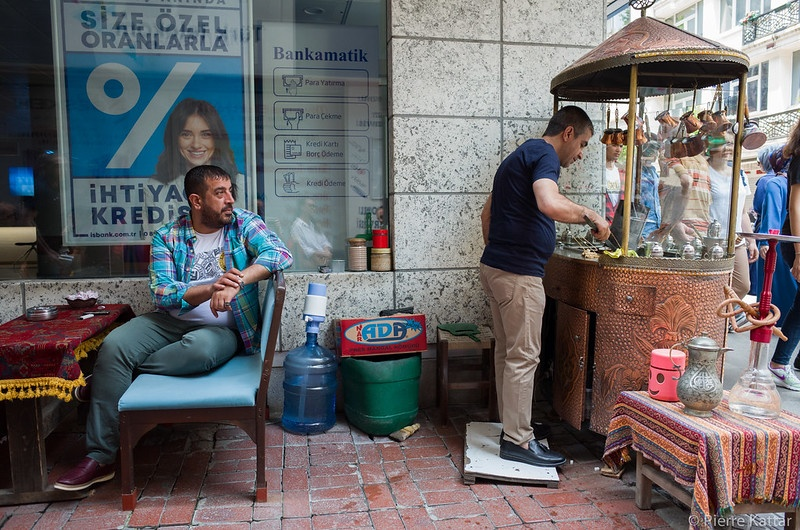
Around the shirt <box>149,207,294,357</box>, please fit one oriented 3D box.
[{"bbox_3d":[-1.422,0.001,4.585,1.239,1.283,0.978,-1,1,-12],"label":"shirt"}]

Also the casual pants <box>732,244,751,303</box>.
[{"bbox_3d":[3.256,0.028,5.529,0.131,0.469,0.121,-2,-6,-1],"label":"casual pants"}]

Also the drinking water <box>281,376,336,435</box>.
[{"bbox_3d":[-0.700,1.142,4.882,0.450,0.497,0.453,0,-3,16],"label":"drinking water"}]

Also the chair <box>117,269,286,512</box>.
[{"bbox_3d":[-1.598,0.889,4.595,1.319,1.715,1.814,2,0,-7],"label":"chair"}]

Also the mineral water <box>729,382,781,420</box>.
[{"bbox_3d":[2.207,0.858,3.581,0.232,0.228,0.228,-2,-4,28],"label":"mineral water"}]

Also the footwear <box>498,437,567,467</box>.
[{"bbox_3d":[0.940,1.369,4.181,0.493,0.185,0.189,4,-2,5],"label":"footwear"}]

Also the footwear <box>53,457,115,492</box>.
[{"bbox_3d":[-2.138,1.432,3.989,0.155,0.172,0.416,10,1,33],"label":"footwear"}]

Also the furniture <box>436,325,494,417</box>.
[{"bbox_3d":[0.561,0.916,4.905,0.553,0.677,0.529,-3,7,-16],"label":"furniture"}]

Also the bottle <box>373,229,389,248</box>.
[{"bbox_3d":[-0.176,-0.227,5.005,0.146,0.165,0.147,0,2,-9],"label":"bottle"}]

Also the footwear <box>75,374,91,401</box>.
[{"bbox_3d":[-2.186,0.860,3.988,0.070,0.121,0.198,5,41,-18],"label":"footwear"}]

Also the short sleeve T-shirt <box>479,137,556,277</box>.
[{"bbox_3d":[0.862,-0.410,4.175,0.537,0.984,0.332,1,10,9],"label":"short sleeve T-shirt"}]

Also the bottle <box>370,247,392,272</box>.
[{"bbox_3d":[-0.165,-0.049,5.002,0.186,0.199,0.188,1,1,-3],"label":"bottle"}]

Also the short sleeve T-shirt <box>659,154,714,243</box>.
[{"bbox_3d":[2.358,-0.556,4.753,0.345,0.676,0.777,4,11,27],"label":"short sleeve T-shirt"}]
